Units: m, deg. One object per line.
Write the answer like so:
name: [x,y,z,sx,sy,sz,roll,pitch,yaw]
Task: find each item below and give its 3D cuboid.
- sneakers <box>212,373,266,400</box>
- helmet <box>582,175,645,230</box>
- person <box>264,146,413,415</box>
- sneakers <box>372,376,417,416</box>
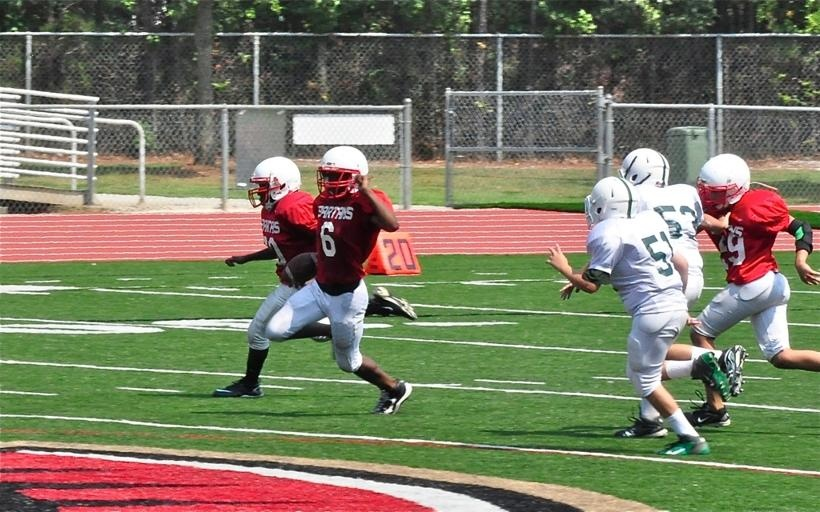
sneakers: [-1.779,1.433,13.211,0.708,0.152,0.183,2,-5,-1]
helmet: [1.945,-0.505,11.940,0.496,0.466,0.231,2,6,4]
person: [-0.665,0.263,12.742,1.259,2.738,0.477,5,7,22]
sneakers: [-0.120,1.478,12.845,0.290,0.593,0.198,48,15,-21]
